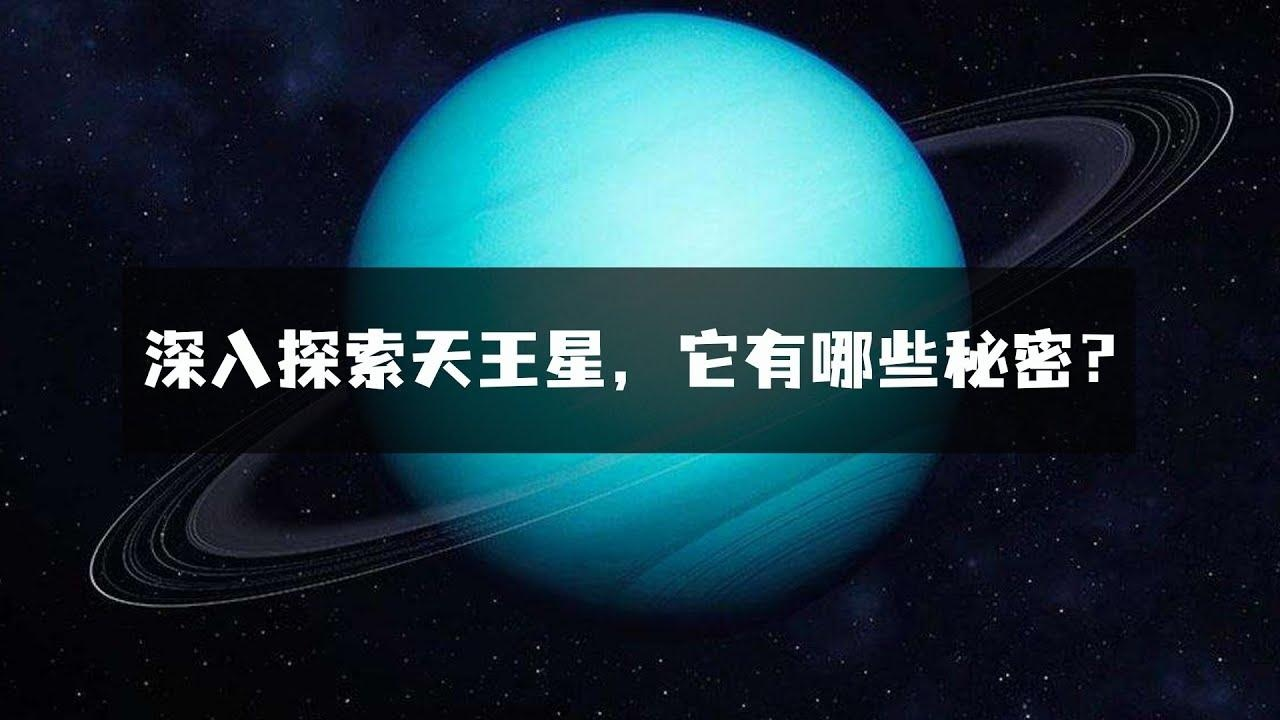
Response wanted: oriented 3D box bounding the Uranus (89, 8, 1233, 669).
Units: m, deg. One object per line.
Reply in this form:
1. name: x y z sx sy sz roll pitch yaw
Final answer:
1. Uranus: 0.373 -1.048 8.184 5.397 5.438 2.796 -17 100 -8
